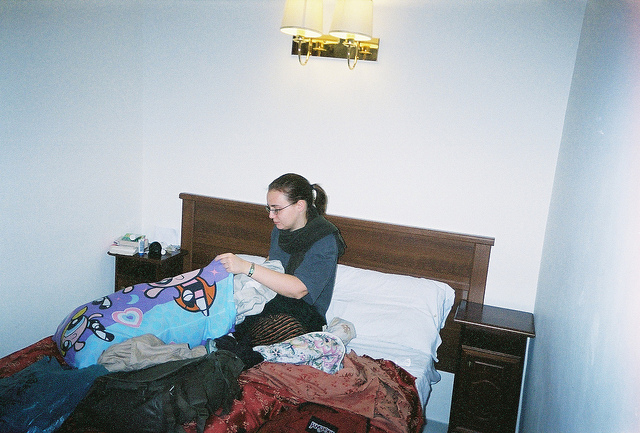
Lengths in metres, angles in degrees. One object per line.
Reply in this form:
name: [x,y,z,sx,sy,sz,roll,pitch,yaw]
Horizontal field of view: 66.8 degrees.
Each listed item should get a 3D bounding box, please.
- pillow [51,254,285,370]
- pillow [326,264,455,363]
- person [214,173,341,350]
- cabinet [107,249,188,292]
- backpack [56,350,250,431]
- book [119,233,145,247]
pillow: [-0.850,0.501,2.640,0.911,0.301,0.607,-10,10,-31]
pillow: [0.427,0.560,3.052,0.681,0.669,0.167,10,-24,8]
person: [-0.333,0.235,2.888,0.782,0.912,0.790,8,13,40]
cabinet: [-1.269,0.392,3.635,0.460,0.477,0.334,5,9,28]
backpack: [-0.698,0.788,2.170,0.471,0.144,0.362,1,3,-20]
book: [-1.380,0.173,3.572,0.105,0.026,0.110,4,39,-3]
